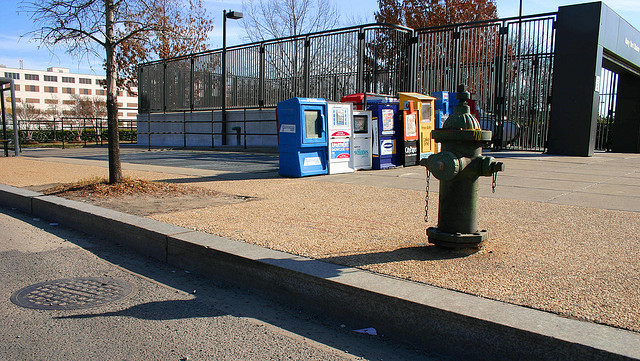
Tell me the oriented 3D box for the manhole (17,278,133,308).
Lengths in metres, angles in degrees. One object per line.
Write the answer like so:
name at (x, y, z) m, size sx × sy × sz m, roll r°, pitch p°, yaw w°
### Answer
manhole at (-3.919, 1.801, 7.722) m, size 1.728 × 0.229 × 0.707 m, roll -1°, pitch 7°, yaw -4°

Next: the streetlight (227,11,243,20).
streetlight at (-4.957, -9.605, 27.900) m, size 0.728 × 0.316 × 0.323 m, roll -4°, pitch 8°, yaw -22°
